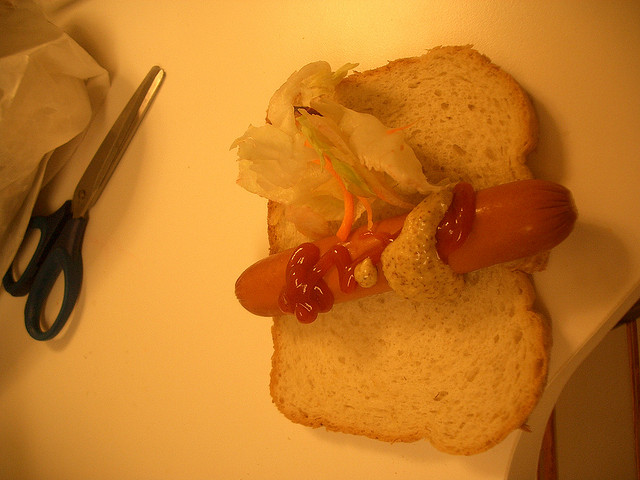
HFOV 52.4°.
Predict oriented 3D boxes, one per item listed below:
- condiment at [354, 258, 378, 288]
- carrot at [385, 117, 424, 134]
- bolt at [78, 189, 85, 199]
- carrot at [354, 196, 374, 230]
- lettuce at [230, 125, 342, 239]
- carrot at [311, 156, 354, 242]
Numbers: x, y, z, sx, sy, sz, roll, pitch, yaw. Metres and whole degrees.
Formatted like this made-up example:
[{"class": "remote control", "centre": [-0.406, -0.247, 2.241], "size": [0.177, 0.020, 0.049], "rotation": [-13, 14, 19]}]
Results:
[{"class": "condiment", "centre": [0.165, 0.116, 2.402], "size": [0.085, 0.036, 0.101], "rotation": [-1, 78, 1]}, {"class": "carrot", "centre": [0.333, -0.451, 2.554], "size": [0.154, 0.027, 0.029], "rotation": [-25, 109, 29]}, {"class": "bolt", "centre": [-1.152, -0.223, 3.138], "size": [0.031, 0.008, 0.037], "rotation": [5, 89, 28]}, {"class": "carrot", "centre": [0.152, -0.107, 2.506], "size": [0.025, 0.077, 0.115], "rotation": [-23, 69, 21]}, {"class": "lettuce", "centre": [-0.102, -0.284, 2.580], "size": [0.384, 0.412, 0.149], "rotation": [31, 53, 4]}, {"class": "carrot", "centre": [0.047, -0.184, 2.429], "size": [0.109, 0.083, 0.343], "rotation": [-16, 97, 2]}]
